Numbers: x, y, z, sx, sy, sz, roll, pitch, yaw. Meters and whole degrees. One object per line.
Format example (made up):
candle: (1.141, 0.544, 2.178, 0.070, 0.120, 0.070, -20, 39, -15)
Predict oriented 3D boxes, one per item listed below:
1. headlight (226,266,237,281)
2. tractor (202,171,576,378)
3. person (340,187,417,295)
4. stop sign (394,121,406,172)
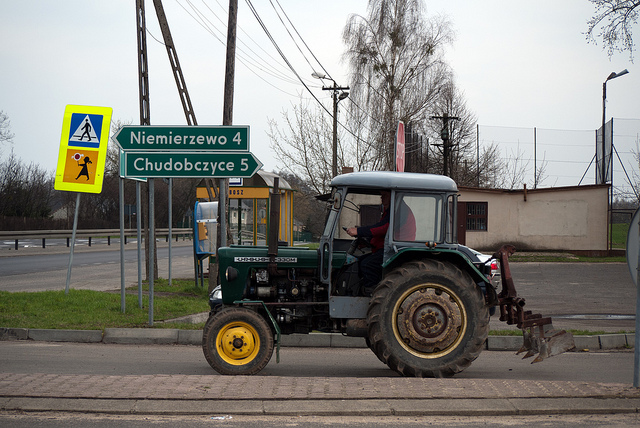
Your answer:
headlight: (-1.545, 1.050, 10.908, 0.165, 0.323, 0.323, 0, -25, 4)
tractor: (1.094, 1.078, 12.252, 6.684, 3.746, 3.129, 1, -2, 1)
person: (1.014, 0.457, 10.959, 1.336, 1.866, 0.474, 0, 2, 2)
stop sign: (1.852, -1.581, 14.530, 0.181, 1.149, 0.803, 0, 2, 17)
